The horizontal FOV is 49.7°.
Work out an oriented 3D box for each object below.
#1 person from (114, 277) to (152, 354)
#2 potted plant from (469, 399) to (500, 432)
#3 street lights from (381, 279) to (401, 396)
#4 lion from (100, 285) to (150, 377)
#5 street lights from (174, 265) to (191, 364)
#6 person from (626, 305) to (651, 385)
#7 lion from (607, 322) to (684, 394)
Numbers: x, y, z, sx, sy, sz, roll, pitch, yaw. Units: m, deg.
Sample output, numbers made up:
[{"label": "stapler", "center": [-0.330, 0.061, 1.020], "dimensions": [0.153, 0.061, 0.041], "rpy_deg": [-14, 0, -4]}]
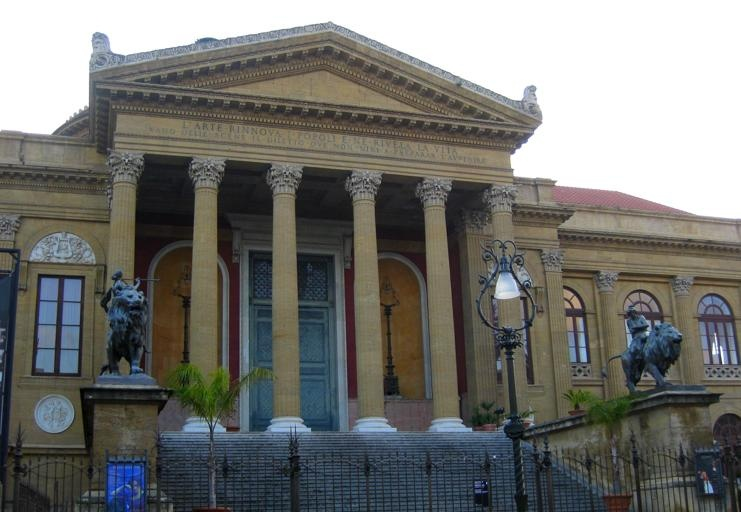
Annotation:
[{"label": "person", "center": [-6.649, 1.798, 21.923], "dimensions": [0.842, 2.432, 0.664], "rpy_deg": [4, -11, -40]}, {"label": "potted plant", "center": [4.755, 6.563, 32.624], "dimensions": [1.048, 1.209, 1.030], "rpy_deg": [12, -18, -28]}, {"label": "street lights", "center": [0.931, 3.685, 36.920], "dimensions": [0.631, 5.569, 0.682], "rpy_deg": [4, -14, -20]}, {"label": "lion", "center": [-6.658, 2.004, 21.955], "dimensions": [1.040, 2.837, 0.817], "rpy_deg": [3, -12, -35]}, {"label": "street lights", "center": [-8.187, 2.464, 35.116], "dimensions": [0.967, 4.490, 0.633], "rpy_deg": [-18, -24, 42]}, {"label": "person", "center": [8.820, 2.893, 26.529], "dimensions": [0.784, 2.666, 0.914], "rpy_deg": [-13, -16, 39]}, {"label": "lion", "center": [9.151, 3.258, 25.866], "dimensions": [0.887, 2.179, 1.880], "rpy_deg": [9, -20, -30]}]
